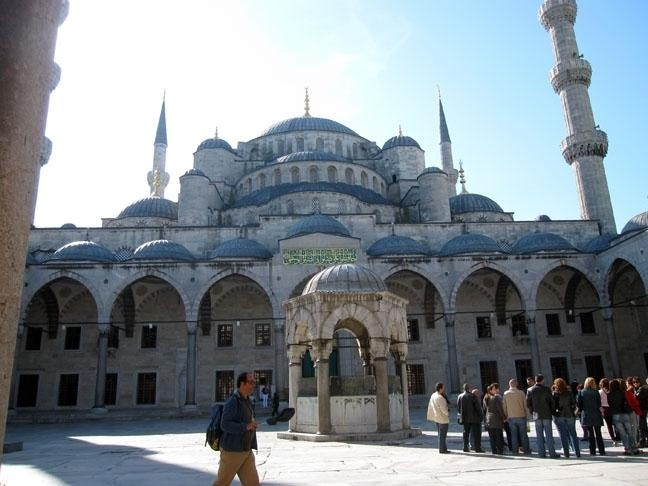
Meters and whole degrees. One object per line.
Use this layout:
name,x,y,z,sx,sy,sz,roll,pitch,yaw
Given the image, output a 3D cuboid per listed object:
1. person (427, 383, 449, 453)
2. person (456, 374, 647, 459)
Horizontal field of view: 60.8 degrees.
person,2.206,3.287,10.569,0.373,1.225,1.721,-5,-17,10
person,3.811,3.017,9.679,2.250,1.316,1.012,-9,-18,22
